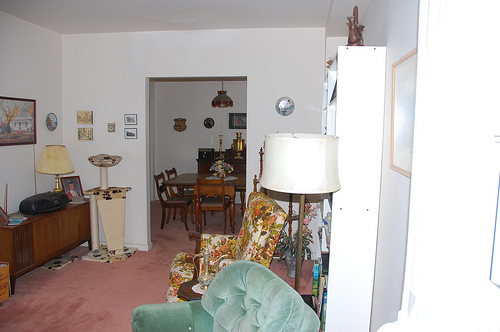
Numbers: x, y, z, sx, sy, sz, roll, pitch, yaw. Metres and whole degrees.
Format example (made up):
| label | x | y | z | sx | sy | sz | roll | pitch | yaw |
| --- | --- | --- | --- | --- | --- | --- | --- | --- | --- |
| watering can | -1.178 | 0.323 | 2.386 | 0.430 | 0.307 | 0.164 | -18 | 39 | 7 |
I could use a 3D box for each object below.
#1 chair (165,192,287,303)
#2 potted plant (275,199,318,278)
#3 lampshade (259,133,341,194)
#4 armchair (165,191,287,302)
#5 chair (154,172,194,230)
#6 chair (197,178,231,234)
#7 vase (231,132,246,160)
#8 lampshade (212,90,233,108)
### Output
| label | x | y | z | sx | sy | sz | roll | pitch | yaw |
| --- | --- | --- | --- | --- | --- | --- | --- | --- | --- |
| chair | -0.323 | 0.943 | 3.880 | 1.094 | 1.197 | 0.861 | 5 | 1 | -11 |
| potted plant | 0.559 | 0.990 | 4.819 | 0.416 | 0.862 | 0.533 | 2 | -16 | -5 |
| lampshade | 0.383 | -0.053 | 2.795 | 0.617 | 0.401 | 0.613 | -9 | 15 | -41 |
| armchair | -0.322 | 0.951 | 3.877 | 1.154 | 1.224 | 0.976 | 3 | 4 | -16 |
| chair | -1.371 | 0.626 | 6.761 | 0.627 | 0.918 | 0.551 | 1 | 6 | 8 |
| chair | -0.604 | 0.619 | 6.333 | 0.535 | 0.970 | 0.605 | 0 | 8 | 4 |
| vase | -0.245 | -0.429 | 7.978 | 0.273 | 0.575 | 0.572 | -2 | 5 | -2 |
| lampshade | -0.539 | -1.387 | 7.664 | 0.360 | 0.260 | 0.365 | 9 | 16 | 31 |
